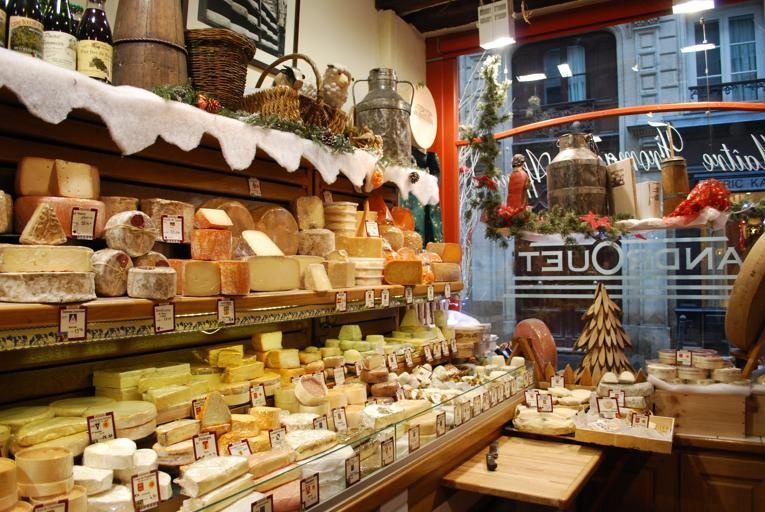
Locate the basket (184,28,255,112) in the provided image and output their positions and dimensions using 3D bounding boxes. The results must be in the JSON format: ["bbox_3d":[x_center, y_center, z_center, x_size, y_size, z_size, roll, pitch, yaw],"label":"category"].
[{"bbox_3d":[-0.846,-1.006,3.054,0.441,0.328,0.423,3,1,-5],"label":"basket"}]

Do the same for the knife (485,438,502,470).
[{"bbox_3d":[0.632,1.142,3.175,0.085,0.057,0.407,7,1,12],"label":"knife"}]

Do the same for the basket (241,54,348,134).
[{"bbox_3d":[-0.533,-1.001,3.356,0.447,0.424,0.636,15,11,39],"label":"basket"}]
